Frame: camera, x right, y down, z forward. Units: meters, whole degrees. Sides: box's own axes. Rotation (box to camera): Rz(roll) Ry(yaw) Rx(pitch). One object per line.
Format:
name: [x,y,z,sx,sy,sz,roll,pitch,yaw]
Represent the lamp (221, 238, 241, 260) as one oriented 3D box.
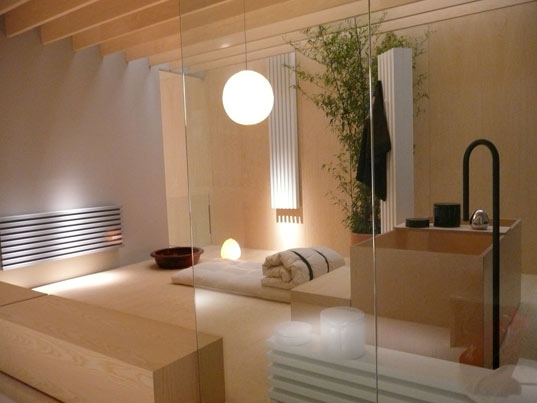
lamp: [-0.153,0.195,1.672,0.076,0.101,0.077,1,3,4]
